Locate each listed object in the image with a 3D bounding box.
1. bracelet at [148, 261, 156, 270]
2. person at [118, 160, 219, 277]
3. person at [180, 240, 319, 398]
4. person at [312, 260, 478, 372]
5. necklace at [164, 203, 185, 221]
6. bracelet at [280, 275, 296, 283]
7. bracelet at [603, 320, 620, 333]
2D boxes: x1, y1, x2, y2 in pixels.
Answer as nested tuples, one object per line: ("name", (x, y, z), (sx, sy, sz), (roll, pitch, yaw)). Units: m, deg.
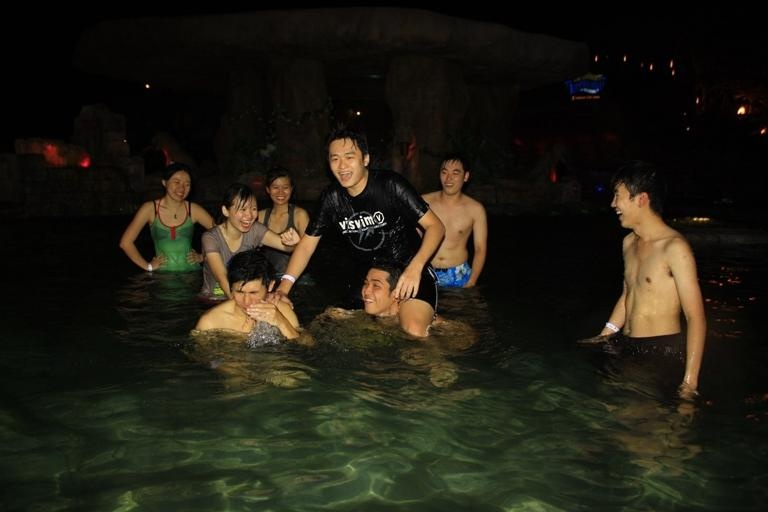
("bracelet", (-3.246, 0.156, 7.971), (0.098, 0.124, 0.074), (-1, 9, -20))
("person", (-2.896, -0.533, 8.145), (1.812, 1.401, 0.817), (-2, 16, -32))
("person", (-1.337, 0.615, 5.644), (0.975, 1.020, 1.392), (-3, 11, -21))
("person", (0.122, 0.710, 5.743), (1.499, 0.764, 1.138), (7, 10, 44))
("necklace", (-2.888, -0.604, 7.937), (0.278, 0.230, 0.078), (-5, 9, -12))
("bracelet", (-1.007, 0.238, 6.108), (0.113, 0.029, 0.108), (12, -15, -15))
("bracelet", (2.223, 0.691, 5.603), (0.112, 0.069, 0.145), (-4, 3, 39))
